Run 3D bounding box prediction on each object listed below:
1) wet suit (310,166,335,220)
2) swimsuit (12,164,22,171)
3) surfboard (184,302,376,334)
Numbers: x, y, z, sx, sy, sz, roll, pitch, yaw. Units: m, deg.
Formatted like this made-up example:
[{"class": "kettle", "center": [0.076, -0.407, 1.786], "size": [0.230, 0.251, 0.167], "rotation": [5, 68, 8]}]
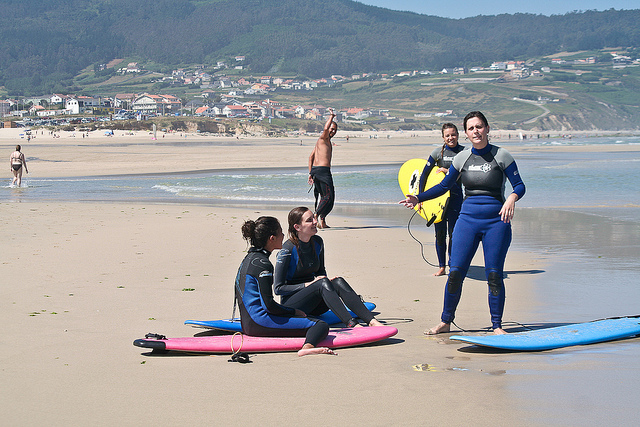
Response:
[{"class": "wet suit", "center": [0.064, -0.410, 19.375], "size": [0.464, 1.217, 0.470], "rotation": [-1, 14, -2]}, {"class": "swimsuit", "center": [-10.040, -1.499, 29.623], "size": [0.228, 0.149, 0.204], "rotation": [4, -2, 34]}, {"class": "surfboard", "center": [-0.615, 1.599, 13.239], "size": [3.193, 0.258, 0.769], "rotation": [-2, 2, -10]}]
